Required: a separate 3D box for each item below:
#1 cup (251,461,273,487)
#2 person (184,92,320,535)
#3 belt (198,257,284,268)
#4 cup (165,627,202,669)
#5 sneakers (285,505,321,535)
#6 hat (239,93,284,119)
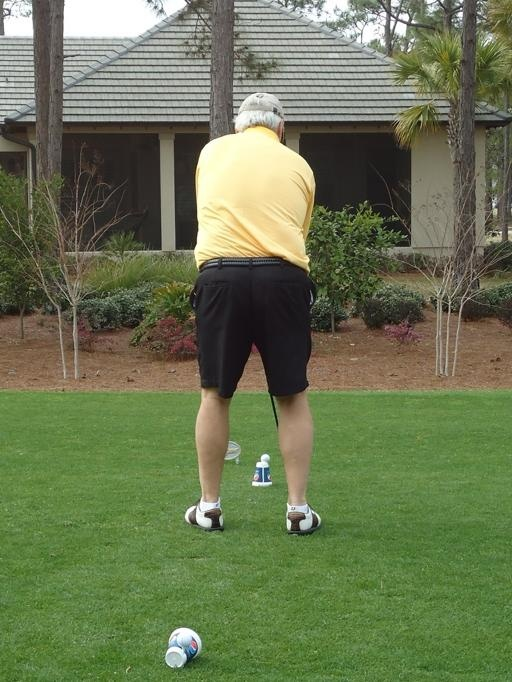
[{"bbox_3d":[0.015,0.544,4.168,0.092,0.104,0.093,0,2,0],"label":"cup"},{"bbox_3d":[-0.015,-0.128,3.713,0.435,1.492,0.589,1,6,2],"label":"person"},{"bbox_3d":[-0.053,-0.274,3.630,0.299,0.044,0.091,1,7,8],"label":"belt"},{"bbox_3d":[-0.178,0.765,2.591,0.077,0.091,0.082,9,16,-3],"label":"cup"},{"bbox_3d":[0.165,0.611,3.545,0.120,0.089,0.105,0,7,-1],"label":"sneakers"},{"bbox_3d":[0.022,-0.899,3.954,0.098,0.070,0.141,1,17,0],"label":"hat"}]
